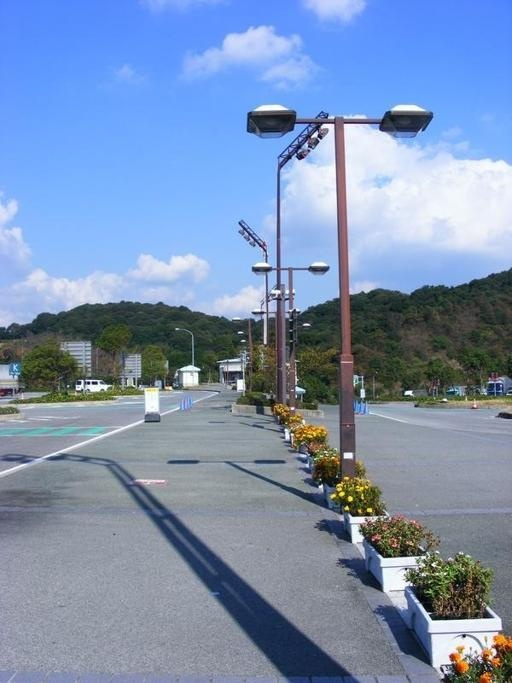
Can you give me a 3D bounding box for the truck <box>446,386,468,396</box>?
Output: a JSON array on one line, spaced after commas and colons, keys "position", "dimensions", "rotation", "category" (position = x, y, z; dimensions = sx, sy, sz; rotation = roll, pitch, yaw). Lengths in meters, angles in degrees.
[{"position": [24.280, 6.076, 89.925], "dimensions": [2.921, 1.465, 1.966], "rotation": [3, -4, 25], "category": "truck"}]
